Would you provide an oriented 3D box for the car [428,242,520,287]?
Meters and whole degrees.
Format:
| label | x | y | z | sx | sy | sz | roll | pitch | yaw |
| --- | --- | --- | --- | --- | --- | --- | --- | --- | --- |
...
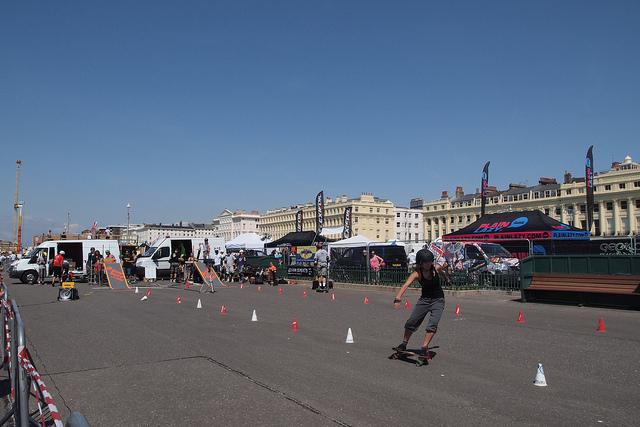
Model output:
| label | x | y | z | sx | sy | sz | roll | pitch | yaw |
| --- | --- | --- | --- | --- | --- | --- | --- | --- | --- |
| car | 6.811 | 2.188 | 20.553 | 1.772 | 1.531 | 3.020 | 7 | -13 | -39 |

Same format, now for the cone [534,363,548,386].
| label | x | y | z | sx | sy | sz | roll | pitch | yaw |
| --- | --- | --- | --- | --- | --- | --- | --- | --- | --- |
| cone | 3.797 | 2.705 | 8.068 | 0.196 | 0.360 | 0.352 | 0 | -1 | 23 |

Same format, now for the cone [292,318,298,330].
| label | x | y | z | sx | sy | sz | roll | pitch | yaw |
| --- | --- | --- | --- | --- | --- | --- | --- | --- | --- |
| cone | -0.673 | 2.856 | 12.340 | 0.196 | 0.290 | 0.186 | -2 | 1 | -4 |

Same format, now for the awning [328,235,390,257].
| label | x | y | z | sx | sy | sz | roll | pitch | yaw |
| --- | --- | --- | --- | --- | --- | --- | --- | --- | --- |
| awning | 2.059 | 1.843 | 28.748 | 3.072 | 1.050 | 5.469 | 0 | -1 | 1 |

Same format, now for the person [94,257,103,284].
| label | x | y | z | sx | sy | sz | roll | pitch | yaw |
| --- | --- | --- | --- | --- | --- | --- | --- | --- | --- |
| person | -12.753 | 3.099 | 26.912 | 0.545 | 1.602 | 1.141 | 2 | 5 | -16 |

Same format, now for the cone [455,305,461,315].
| label | x | y | z | sx | sy | sz | roll | pitch | yaw |
| --- | --- | --- | --- | --- | --- | --- | --- | --- | --- |
| cone | 4.298 | 2.989 | 14.821 | 0.201 | 0.302 | 0.217 | -3 | -9 | 8 |

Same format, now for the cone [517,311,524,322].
| label | x | y | z | sx | sy | sz | roll | pitch | yaw |
| --- | --- | --- | --- | --- | --- | --- | --- | --- | --- |
| cone | 6.001 | 3.016 | 14.030 | 0.236 | 0.347 | 0.248 | -1 | -10 | 3 |

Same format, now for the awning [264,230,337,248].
| label | x | y | z | sx | sy | sz | roll | pitch | yaw |
| --- | --- | --- | --- | --- | --- | --- | --- | --- | --- |
| awning | -1.491 | 2.010 | 40.728 | 3.688 | 0.944 | 2.738 | -6 | -10 | 33 |

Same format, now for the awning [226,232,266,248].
| label | x | y | z | sx | sy | sz | roll | pitch | yaw |
| --- | --- | --- | --- | --- | --- | --- | --- | --- | --- |
| awning | -6.628 | 2.232 | 41.524 | 2.659 | 1.198 | 3.478 | 1 | -2 | -29 |

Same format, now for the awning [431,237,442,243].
| label | x | y | z | sx | sy | sz | roll | pitch | yaw |
| --- | --- | --- | --- | --- | --- | --- | --- | --- | --- |
| awning | 7.890 | 1.577 | 31.087 | 0.370 | 0.133 | 7.515 | 0 | -2 | 15 |

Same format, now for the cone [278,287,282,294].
| label | x | y | z | sx | sy | sz | roll | pitch | yaw |
| --- | --- | --- | --- | --- | --- | --- | --- | --- | --- |
| cone | -2.030 | 3.771 | 23.688 | 0.203 | 0.291 | 0.212 | 1 | -7 | -2 |

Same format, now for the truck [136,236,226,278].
| label | x | y | z | sx | sy | sz | roll | pitch | yaw |
| --- | --- | --- | --- | --- | --- | --- | --- | --- | --- |
| truck | -9.716 | 2.608 | 32.242 | 5.078 | 2.752 | 2.817 | 3 | -8 | -20 |

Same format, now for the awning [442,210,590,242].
| label | x | y | z | sx | sy | sz | roll | pitch | yaw |
| --- | --- | --- | --- | --- | --- | --- | --- | --- | --- |
| awning | 12.303 | 0.664 | 30.225 | 5.564 | 1.981 | 7.940 | 3 | -6 | -39 |

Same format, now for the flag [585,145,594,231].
| label | x | y | z | sx | sy | sz | roll | pitch | yaw |
| --- | --- | --- | --- | --- | --- | --- | --- | --- | --- |
| flag | 19.421 | -2.056 | 33.766 | 0.372 | 5.924 | 2.402 | 0 | -1 | 29 |

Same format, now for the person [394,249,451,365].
| label | x | y | z | sx | sy | sz | roll | pitch | yaw |
| --- | --- | --- | --- | --- | --- | --- | --- | --- | --- |
| person | 2.126 | 1.797 | 9.720 | 1.032 | 2.189 | 1.467 | 0 | -1 | 15 |

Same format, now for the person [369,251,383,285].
| label | x | y | z | sx | sy | sz | roll | pitch | yaw |
| --- | --- | --- | --- | --- | --- | --- | --- | --- | --- |
| person | 2.963 | 2.783 | 24.873 | 0.645 | 1.556 | 1.806 | 0 | -1 | 7 |

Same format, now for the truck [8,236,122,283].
| label | x | y | z | sx | sy | sz | roll | pitch | yaw |
| --- | --- | --- | --- | --- | --- | --- | --- | --- | --- |
| truck | -16.776 | 2.421 | 30.591 | 6.730 | 3.181 | 3.665 | 7 | -11 | -35 |

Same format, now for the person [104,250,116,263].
| label | x | y | z | sx | sy | sz | roll | pitch | yaw |
| --- | --- | --- | --- | --- | --- | --- | --- | --- | --- |
| person | -13.087 | 2.536 | 29.047 | 0.567 | 0.762 | 0.415 | -6 | -9 | 6 |

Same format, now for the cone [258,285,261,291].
| label | x | y | z | sx | sy | sz | roll | pitch | yaw |
| --- | --- | --- | --- | --- | --- | --- | --- | --- | --- |
| cone | -3.223 | 3.817 | 24.737 | 0.165 | 0.371 | 0.169 | -3 | 8 | -8 |
